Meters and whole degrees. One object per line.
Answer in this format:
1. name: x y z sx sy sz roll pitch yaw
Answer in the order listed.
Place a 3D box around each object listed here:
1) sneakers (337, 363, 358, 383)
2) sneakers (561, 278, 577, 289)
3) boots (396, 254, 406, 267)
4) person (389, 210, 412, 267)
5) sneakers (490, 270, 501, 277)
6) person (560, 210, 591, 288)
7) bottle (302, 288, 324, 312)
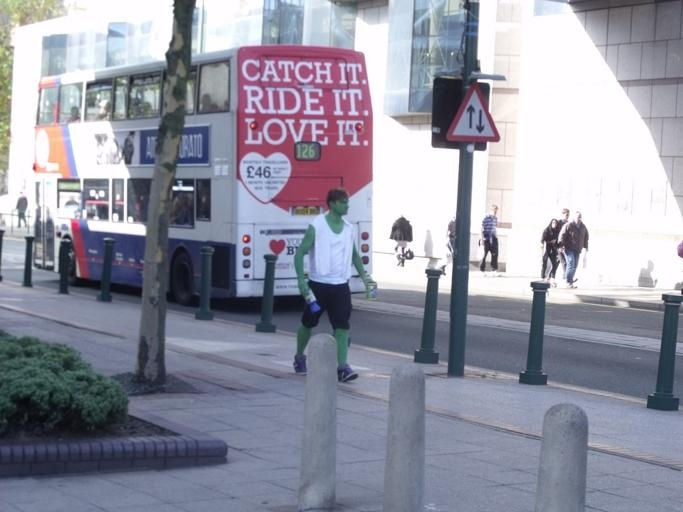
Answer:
1. sneakers: 0.068 1.377 10.651 0.223 0.233 0.285 2 5 -3
2. sneakers: 6.288 0.757 24.526 0.172 0.291 0.604 1 10 4
3. boots: 2.082 0.150 31.374 0.353 0.510 0.329 0 -6 6
4. person: 2.171 -0.621 32.319 0.791 1.713 2.513 2 5 3
5. sneakers: 4.749 0.520 27.462 0.390 0.228 0.159 0 4 26
6. person: 6.193 -0.171 23.907 0.763 2.055 0.556 -1 5 -35
7. bottle: -0.345 0.515 10.488 0.160 0.286 0.202 4 5 20
